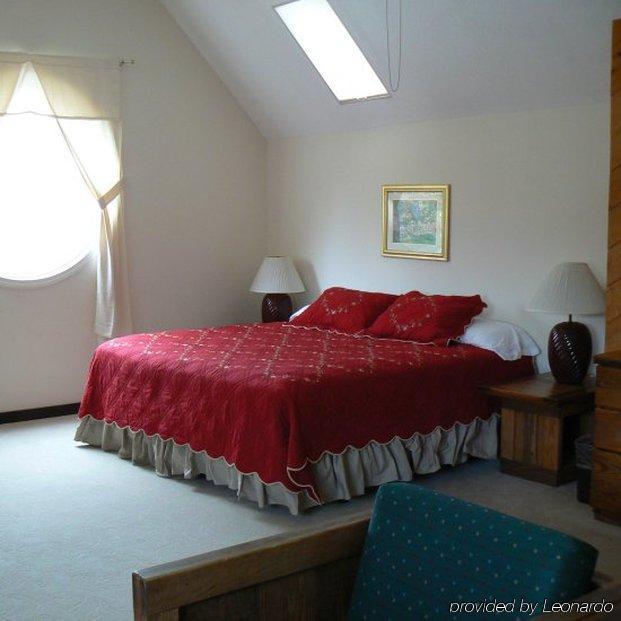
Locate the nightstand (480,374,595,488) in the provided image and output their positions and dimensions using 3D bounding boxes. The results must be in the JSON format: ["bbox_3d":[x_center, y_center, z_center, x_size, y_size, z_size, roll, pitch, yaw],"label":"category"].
[{"bbox_3d":[1.480,0.740,3.269,0.575,0.579,0.500,-3,3,-36],"label":"nightstand"}]

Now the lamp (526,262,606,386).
[{"bbox_3d":[1.672,0.084,3.374,0.418,0.818,0.460,-1,3,-3],"label":"lamp"}]

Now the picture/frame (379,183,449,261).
[{"bbox_3d":[0.902,-0.780,4.520,0.566,0.754,0.049,3,-24,10],"label":"picture/frame"}]

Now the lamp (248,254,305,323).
[{"bbox_3d":[-0.366,-0.239,5.445,0.430,0.845,0.521,6,23,8],"label":"lamp"}]
